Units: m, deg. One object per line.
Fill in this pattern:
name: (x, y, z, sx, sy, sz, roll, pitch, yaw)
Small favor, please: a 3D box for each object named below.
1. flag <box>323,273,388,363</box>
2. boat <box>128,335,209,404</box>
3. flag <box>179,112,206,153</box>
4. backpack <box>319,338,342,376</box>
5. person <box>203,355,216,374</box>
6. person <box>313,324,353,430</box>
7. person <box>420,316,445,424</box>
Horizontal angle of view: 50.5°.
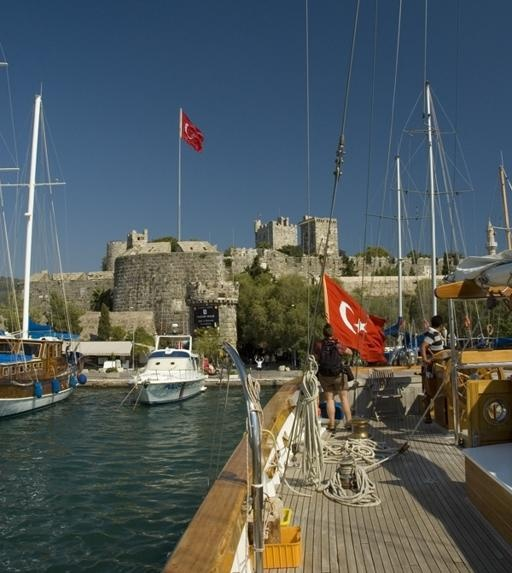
flag: (1.453, 0.427, 8.485, 0.838, 0.290, 2.249, -9, 35, -6)
boat: (-3.888, 4.007, 24.061, 1.534, 2.362, 4.183, -2, -6, 24)
flag: (-4.556, -11.000, 38.658, 1.252, 0.430, 3.357, -30, -42, 5)
backpack: (0.892, 0.853, 6.415, 0.270, 0.481, 0.227, 0, -3, 24)
person: (-3.029, 5.147, 34.538, 0.698, 1.492, 1.016, -1, 1, 1)
person: (0.958, 1.072, 6.529, 0.376, 1.313, 0.407, -3, 10, 16)
person: (2.383, 1.103, 7.311, 0.334, 1.443, 2.106, -1, -5, 18)
